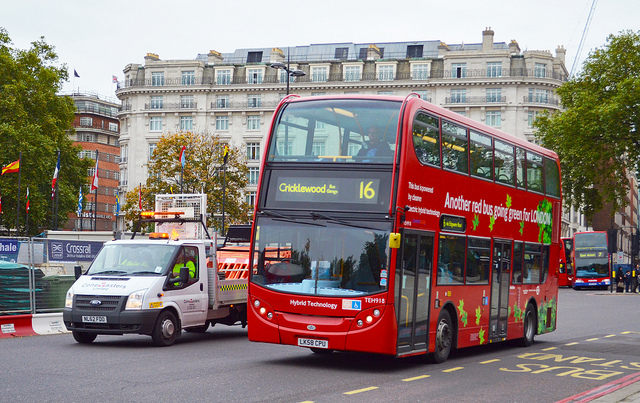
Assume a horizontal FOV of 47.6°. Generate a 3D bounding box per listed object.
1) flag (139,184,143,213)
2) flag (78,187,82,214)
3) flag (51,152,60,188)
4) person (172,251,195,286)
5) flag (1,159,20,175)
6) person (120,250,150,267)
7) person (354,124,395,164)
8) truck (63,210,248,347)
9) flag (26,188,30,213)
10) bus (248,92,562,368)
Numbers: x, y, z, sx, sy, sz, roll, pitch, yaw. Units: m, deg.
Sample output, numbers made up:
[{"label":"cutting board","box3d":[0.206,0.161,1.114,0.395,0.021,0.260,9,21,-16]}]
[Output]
[{"label":"flag","box3d":[-17.523,-0.336,70.712,0.290,2.385,3.371,1,0,-14]},{"label":"flag","box3d":[-24.380,-0.106,73.588,0.230,2.513,8.014,1,0,-19]},{"label":"flag","box3d":[-21.951,-2.445,60.238,0.438,2.505,1.804,1,1,-23]},{"label":"person","box3d":[-4.187,2.049,22.141,0.252,1.014,0.886,2,1,25]},{"label":"flag","box3d":[-25.251,-2.816,58.961,1.536,0.245,1.580,-19,30,-5]},{"label":"person","box3d":[-5.581,1.730,21.917,0.757,0.459,0.260,2,1,10]},{"label":"person","box3d":[1.497,-1.264,18.862,1.254,1.161,0.733,0,-5,20]},{"label":"truck","box3d":[-4.915,2.476,24.623,3.365,4.281,8.568,-1,-5,18]},{"label":"flag","box3d":[-24.886,-0.033,61.719,0.266,2.057,0.794,1,1,-23]},{"label":"bus","box3d":[2.348,1.091,19.971,2.848,4.267,7.834,-2,-5,35]}]
